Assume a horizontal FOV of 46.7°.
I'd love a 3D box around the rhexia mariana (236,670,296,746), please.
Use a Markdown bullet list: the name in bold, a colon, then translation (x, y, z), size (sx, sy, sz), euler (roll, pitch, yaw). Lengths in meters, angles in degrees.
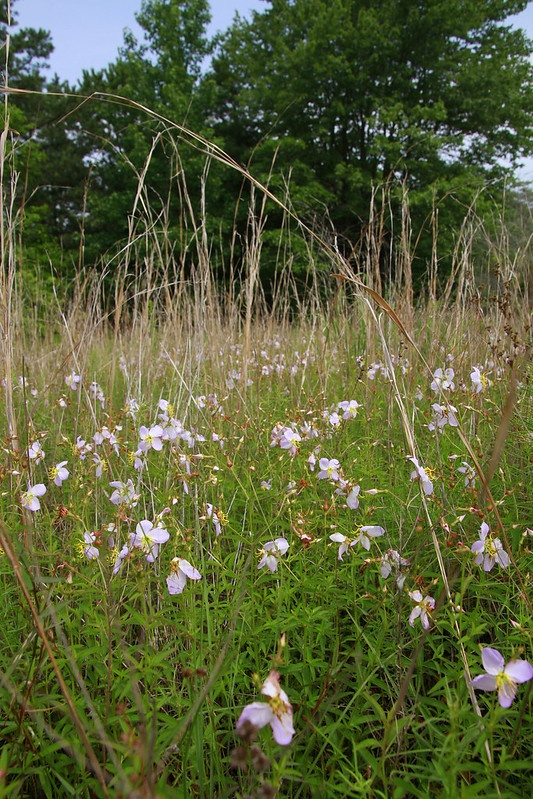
- **rhexia mariana**: translation (-0.003, 0.453, 0.904), size (0.096, 0.106, 0.040), euler (7, -17, -33)
